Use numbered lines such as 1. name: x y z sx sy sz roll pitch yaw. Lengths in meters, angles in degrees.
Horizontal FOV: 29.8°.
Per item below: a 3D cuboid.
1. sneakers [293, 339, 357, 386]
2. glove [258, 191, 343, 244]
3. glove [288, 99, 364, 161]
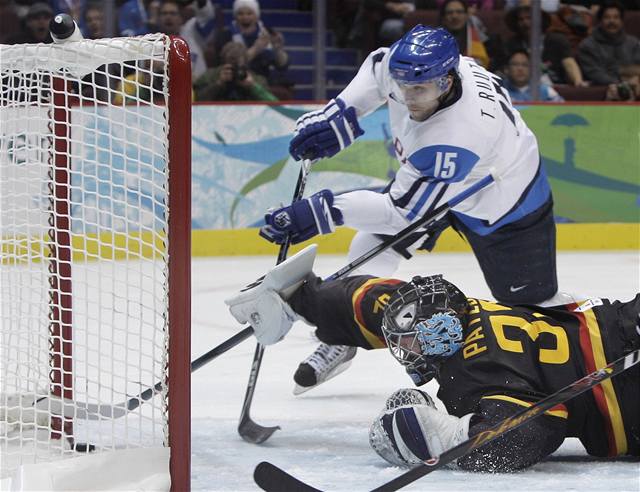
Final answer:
1. sneakers: 0.040 0.566 5.781 0.297 0.126 0.094 -33 51 -15
2. glove: -0.087 -0.126 5.651 0.310 0.122 0.284 -23 13 0
3. glove: 0.029 -0.552 5.810 0.364 0.155 0.268 -20 53 2
